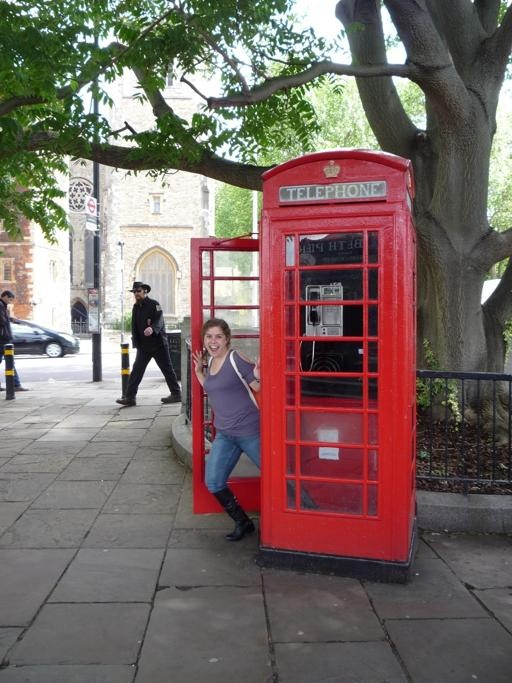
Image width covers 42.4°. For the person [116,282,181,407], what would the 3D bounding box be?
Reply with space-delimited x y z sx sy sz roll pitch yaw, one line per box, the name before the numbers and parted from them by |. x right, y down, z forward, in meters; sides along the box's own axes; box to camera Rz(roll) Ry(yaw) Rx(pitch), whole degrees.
person | -1.611 0.039 10.120 1.052 1.863 0.975 2 -5 -43

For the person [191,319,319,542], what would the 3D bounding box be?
person | -0.161 0.591 4.481 0.334 1.487 1.090 -2 4 -30

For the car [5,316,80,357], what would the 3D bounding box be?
car | -7.439 -0.207 22.900 3.567 1.320 1.425 0 1 -12
